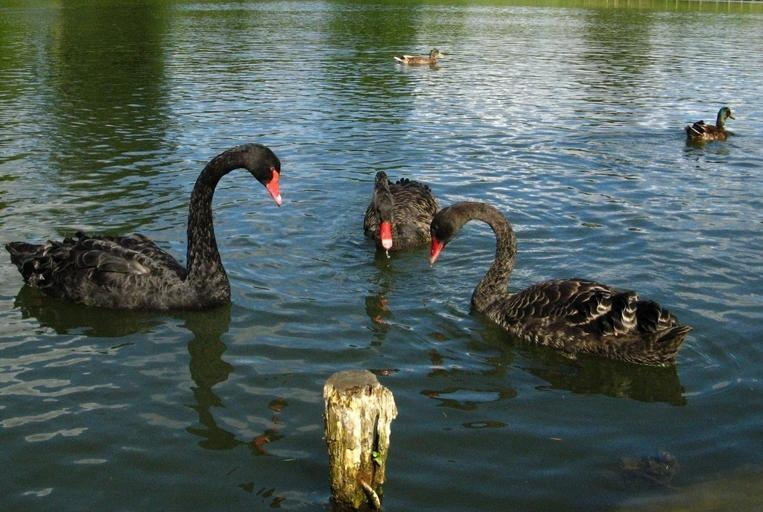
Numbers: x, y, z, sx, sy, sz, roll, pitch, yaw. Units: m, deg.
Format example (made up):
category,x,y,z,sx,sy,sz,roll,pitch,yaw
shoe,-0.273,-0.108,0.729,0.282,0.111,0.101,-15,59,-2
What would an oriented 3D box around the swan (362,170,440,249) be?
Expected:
category,x,y,z,sx,sy,sz,roll,pitch,yaw
swan,0.369,-0.854,14.527,1.402,1.457,2.312,2,14,3
